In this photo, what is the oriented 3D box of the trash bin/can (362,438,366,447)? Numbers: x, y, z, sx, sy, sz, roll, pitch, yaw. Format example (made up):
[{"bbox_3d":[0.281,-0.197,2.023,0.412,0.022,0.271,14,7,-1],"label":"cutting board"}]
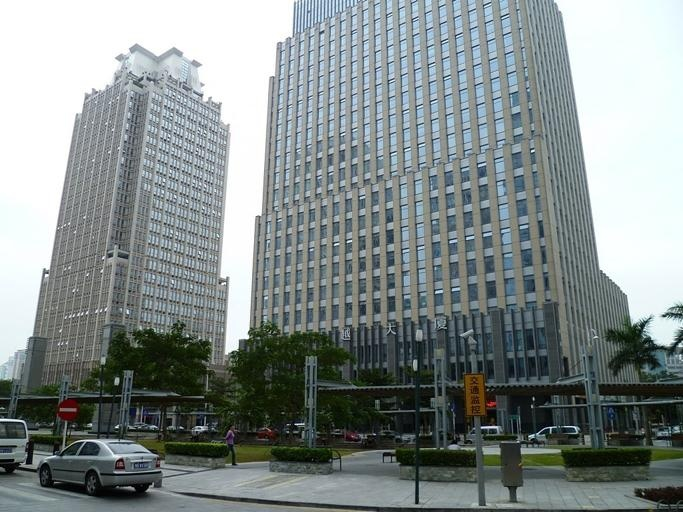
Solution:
[{"bbox_3d":[2.304,19.477,61.039,0.602,0.776,1.249,-2,-18,0],"label":"trash bin/can"}]

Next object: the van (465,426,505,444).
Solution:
[{"bbox_3d":[15.105,18.655,61.119,3.547,1.726,8.763,-6,-17,13],"label":"van"}]

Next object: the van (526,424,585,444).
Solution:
[{"bbox_3d":[21.633,18.005,59.352,4.949,1.658,2.466,-2,-23,15],"label":"van"}]
